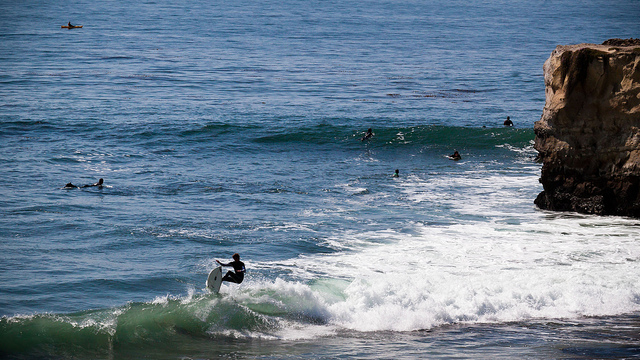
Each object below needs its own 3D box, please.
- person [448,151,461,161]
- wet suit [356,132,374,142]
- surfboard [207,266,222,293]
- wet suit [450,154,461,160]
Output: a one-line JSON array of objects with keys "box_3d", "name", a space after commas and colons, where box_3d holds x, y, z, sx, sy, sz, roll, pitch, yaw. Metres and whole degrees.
[{"box_3d": [14.584, -2.682, 122.133, 1.349, 0.986, 1.351, 2, 3, 5], "name": "person"}, {"box_3d": [5.117, -4.867, 126.710, 1.285, 0.781, 0.718, -28, 15, -18], "name": "wet suit"}, {"box_3d": [-9.315, 8.681, 101.114, 0.984, 2.072, 2.530, 10, 7, 2], "name": "surfboard"}, {"box_3d": [14.730, -2.567, 122.031, 1.028, 0.523, 0.732, 2, 3, 6], "name": "wet suit"}]
